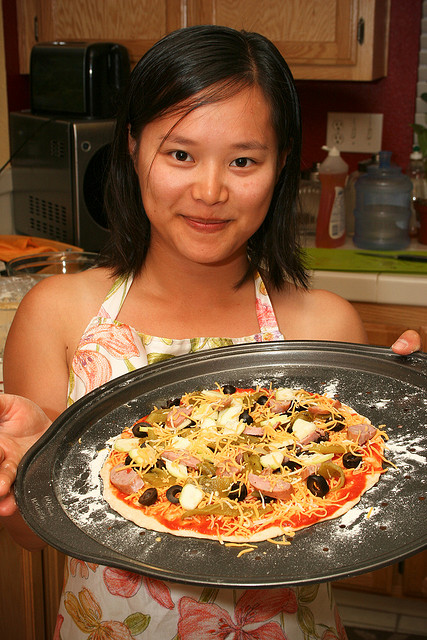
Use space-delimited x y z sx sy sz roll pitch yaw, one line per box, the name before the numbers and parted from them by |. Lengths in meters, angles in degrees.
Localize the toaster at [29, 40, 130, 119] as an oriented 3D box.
toaster | -0.574 -1.002 2.230 0.391 0.285 0.217 14 26 25
